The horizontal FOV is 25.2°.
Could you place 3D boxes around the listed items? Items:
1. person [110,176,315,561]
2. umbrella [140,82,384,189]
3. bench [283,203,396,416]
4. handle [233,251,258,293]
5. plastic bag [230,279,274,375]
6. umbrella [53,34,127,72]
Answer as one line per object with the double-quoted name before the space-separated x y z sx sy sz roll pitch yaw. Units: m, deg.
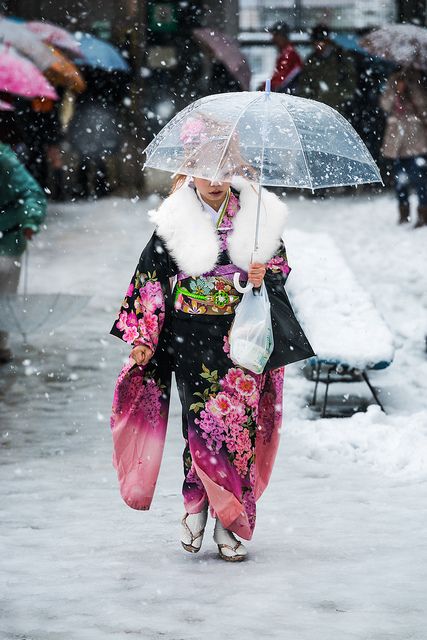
"person" 0.002 0.144 3.538 0.685 1.240 0.884 10 37 18
"umbrella" 0.162 -0.627 3.512 0.601 0.211 0.551 3 25 1
"bench" 0.688 0.007 5.729 0.422 0.434 1.889 -1 15 0
"handle" 0.114 -0.169 3.388 0.083 0.138 0.029 16 1 22
"plastic bag" 0.130 0.029 3.392 0.141 0.214 0.266 -2 34 1
"umbrella" -1.841 -4.036 14.579 0.830 0.244 0.787 13 -6 -7
